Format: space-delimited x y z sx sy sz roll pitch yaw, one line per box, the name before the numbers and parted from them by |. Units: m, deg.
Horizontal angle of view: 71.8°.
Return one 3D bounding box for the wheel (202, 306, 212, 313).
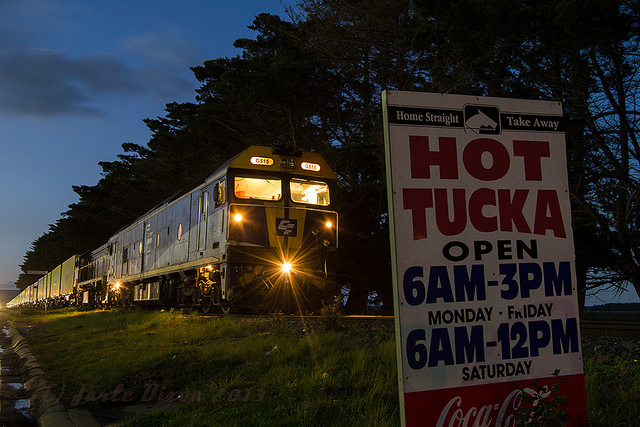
wheel | -3.534 3.009 13.947 0.287 0.305 0.078 3 4 38
